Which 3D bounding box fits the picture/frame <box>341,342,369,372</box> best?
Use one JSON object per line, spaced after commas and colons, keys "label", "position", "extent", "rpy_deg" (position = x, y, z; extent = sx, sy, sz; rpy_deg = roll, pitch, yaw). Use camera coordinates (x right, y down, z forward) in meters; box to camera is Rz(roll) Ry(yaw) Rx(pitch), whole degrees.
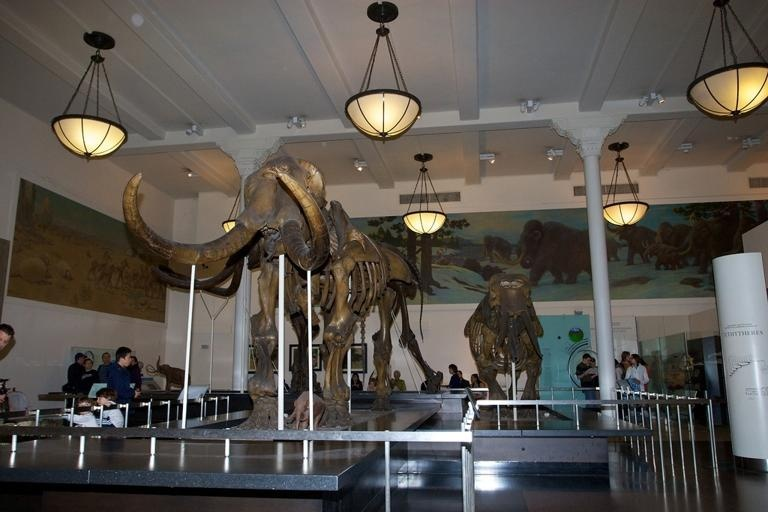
{"label": "picture/frame", "position": [-0.894, 3.346, 16.430], "extent": [0.766, 1.048, 0.978], "rpy_deg": [2, -15, -18]}

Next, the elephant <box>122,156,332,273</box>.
{"label": "elephant", "position": [-1.414, -0.347, 4.759], "extent": [2.130, 1.011, 1.130], "rpy_deg": [4, -6, -11]}

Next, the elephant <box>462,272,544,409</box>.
{"label": "elephant", "position": [2.553, 1.916, 10.697], "extent": [1.544, 2.311, 3.322], "rpy_deg": [-3, -18, 7]}

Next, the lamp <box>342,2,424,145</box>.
{"label": "lamp", "position": [0.007, -3.380, 9.823], "extent": [1.313, 2.542, 1.798], "rpy_deg": [-4, -14, 5]}

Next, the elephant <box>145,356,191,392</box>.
{"label": "elephant", "position": [-7.106, 3.970, 17.032], "extent": [1.399, 1.112, 1.333], "rpy_deg": [-6, -14, 12]}

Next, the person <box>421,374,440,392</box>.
{"label": "person", "position": [0.970, 2.530, 9.987], "extent": [0.350, 0.362, 0.945], "rpy_deg": [-5, -14, 8]}

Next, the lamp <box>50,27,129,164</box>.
{"label": "lamp", "position": [-6.338, -3.070, 10.801], "extent": [1.240, 2.542, 2.600], "rpy_deg": [7, -17, -32]}

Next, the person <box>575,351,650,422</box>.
{"label": "person", "position": [4.999, 2.872, 10.907], "extent": [0.769, 1.570, 2.896], "rpy_deg": [-14, -30, 34]}
